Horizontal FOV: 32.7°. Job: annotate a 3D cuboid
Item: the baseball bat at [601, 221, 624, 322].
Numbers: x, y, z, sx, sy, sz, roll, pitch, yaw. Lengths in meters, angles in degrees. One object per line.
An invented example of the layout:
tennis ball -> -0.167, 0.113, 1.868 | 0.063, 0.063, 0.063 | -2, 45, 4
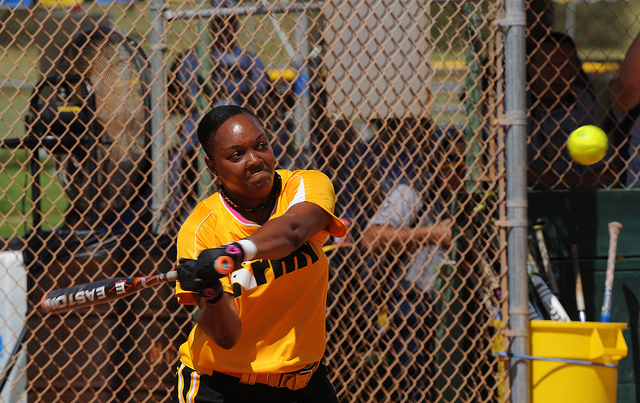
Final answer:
baseball bat -> 2.721, 0.704, 10.226 | 0.160, 1.011, 0.179 | 5, -7, 28

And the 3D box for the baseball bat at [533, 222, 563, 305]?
baseball bat -> 2.165, 0.536, 10.352 | 0.166, 0.906, 0.199 | 1, 0, -5

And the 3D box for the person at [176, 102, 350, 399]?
person -> -0.525, 0.429, 9.194 | 1.362, 2.480, 0.684 | 0, -2, -10

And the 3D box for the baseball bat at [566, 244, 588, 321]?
baseball bat -> 2.439, 0.764, 10.396 | 0.161, 0.812, 0.154 | 20, -29, -34
